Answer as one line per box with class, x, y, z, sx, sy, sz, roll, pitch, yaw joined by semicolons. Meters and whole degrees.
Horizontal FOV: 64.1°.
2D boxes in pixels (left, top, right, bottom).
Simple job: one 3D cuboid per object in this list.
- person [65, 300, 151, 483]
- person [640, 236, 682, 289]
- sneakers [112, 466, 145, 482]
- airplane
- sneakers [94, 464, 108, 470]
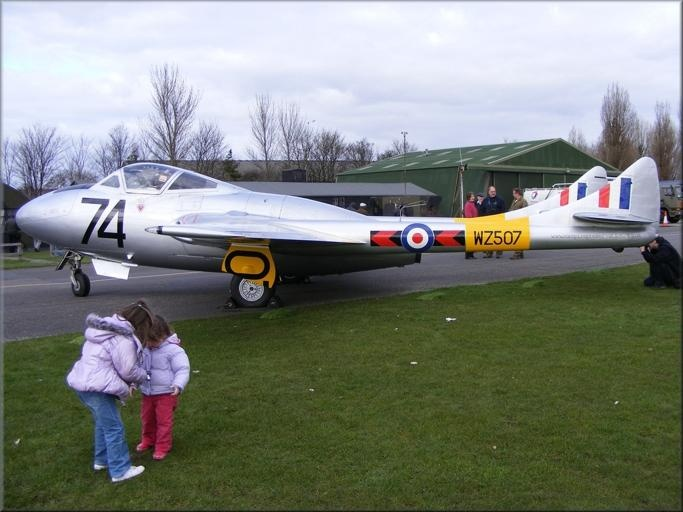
person;-2.318;1.417;5.640;0.868;1.756;0.460;-7;11;-25
person;6.823;0.148;11.672;0.681;1.156;0.381;2;11;23
sneakers;-2.165;2.243;5.637;0.327;0.119;0.113;-9;15;-33
airplane;0.380;-0.813;13.416;15.929;3.094;5.843;-3;8;-8
sneakers;-2.531;2.236;5.757;0.122;0.042;0.061;7;-5;5
